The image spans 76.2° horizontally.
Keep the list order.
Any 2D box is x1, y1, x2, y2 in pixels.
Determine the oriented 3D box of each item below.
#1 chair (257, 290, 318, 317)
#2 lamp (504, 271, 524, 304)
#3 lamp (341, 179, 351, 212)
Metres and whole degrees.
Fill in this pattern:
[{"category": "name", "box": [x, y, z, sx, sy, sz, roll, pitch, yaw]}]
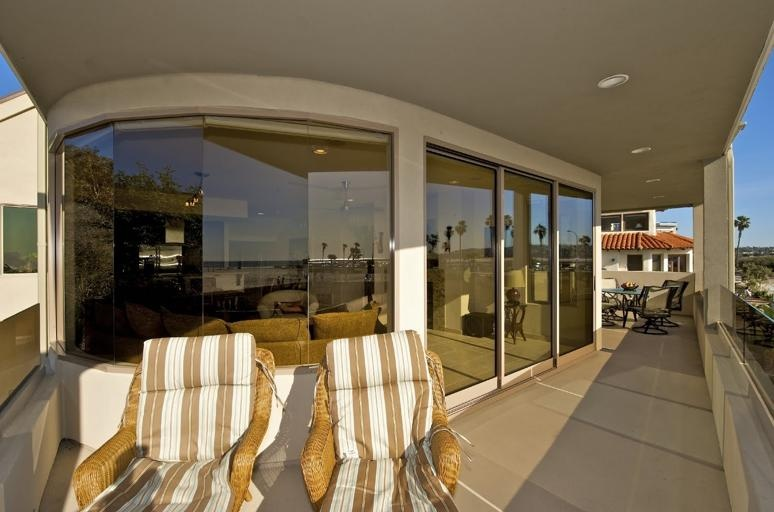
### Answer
[{"category": "chair", "box": [-1.131, 0.520, 5.179, 0.505, 0.313, 0.257, -3, 1, -1]}, {"category": "lamp", "box": [1.797, 0.418, 6.890, 0.376, 0.468, 0.370, -1, 2, 15]}, {"category": "lamp", "box": [-0.454, -0.696, 5.546, 0.099, 0.332, 0.108, -5, 14, -33]}]
